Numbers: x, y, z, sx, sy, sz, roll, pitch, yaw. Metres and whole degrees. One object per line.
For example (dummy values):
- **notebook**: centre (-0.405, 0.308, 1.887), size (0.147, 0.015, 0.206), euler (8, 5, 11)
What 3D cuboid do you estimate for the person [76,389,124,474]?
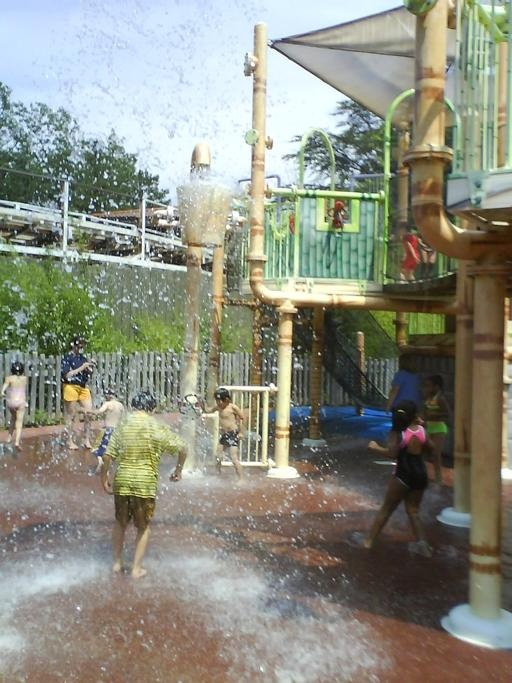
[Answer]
- **person**: centre (-2.146, 1.242, 9.166), size (0.314, 0.485, 1.153), euler (6, 48, 6)

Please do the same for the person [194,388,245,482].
- **person**: centre (-0.425, 1.186, 8.491), size (0.517, 1.062, 1.276), euler (1, 0, -4)

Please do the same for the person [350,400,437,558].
- **person**: centre (1.195, 1.181, 5.795), size (0.592, 1.042, 0.562), euler (1, 0, 12)
